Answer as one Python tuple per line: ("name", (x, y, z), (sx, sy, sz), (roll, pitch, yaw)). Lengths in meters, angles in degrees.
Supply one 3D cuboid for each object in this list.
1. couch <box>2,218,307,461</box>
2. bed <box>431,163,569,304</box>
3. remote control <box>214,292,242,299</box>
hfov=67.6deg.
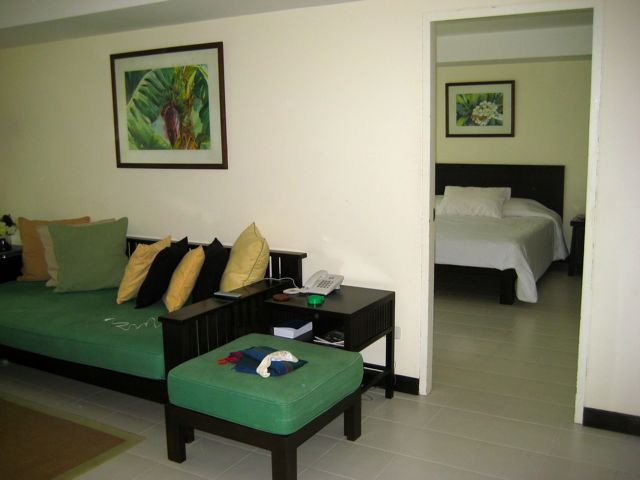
("couch", (-1.377, 0.383, 3.412), (2.293, 0.913, 1.115), (3, 12, 17))
("bed", (2.243, -0.228, 6.030), (1.622, 1.390, 2.261), (6, 13, 28))
("remote control", (-0.591, 0.350, 3.063), (0.112, 0.016, 0.065), (2, 2, 9))
